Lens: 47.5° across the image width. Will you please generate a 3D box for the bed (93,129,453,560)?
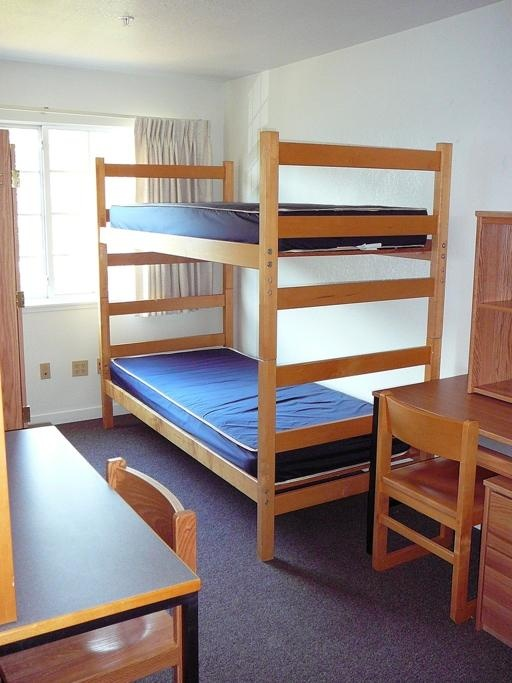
[{"bbox_3d":[-0.068,-0.164,3.313,1.098,1.653,1.912,-9,16,-33],"label":"bed"}]
